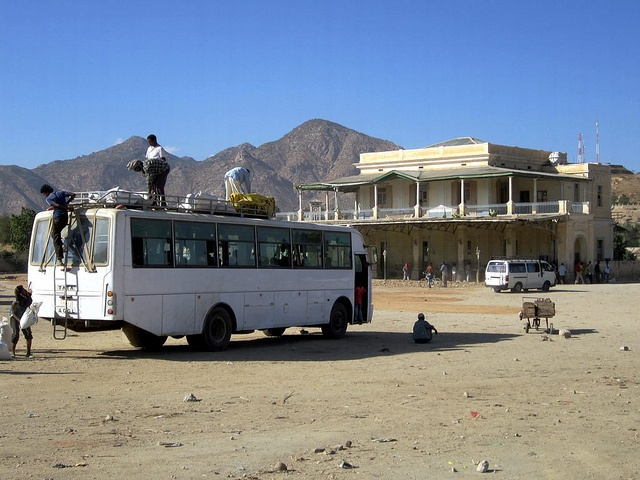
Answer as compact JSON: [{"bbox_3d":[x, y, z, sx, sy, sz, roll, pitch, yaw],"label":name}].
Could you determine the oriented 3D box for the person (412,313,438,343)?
[{"bbox_3d":[3.195,2.723,22.411,0.619,0.872,0.990,0,0,8],"label":"person"}]

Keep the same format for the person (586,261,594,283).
[{"bbox_3d":[21.861,2.611,58.254,0.474,1.645,2.231,0,0,21],"label":"person"}]

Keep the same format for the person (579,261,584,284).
[{"bbox_3d":[20.675,2.611,57.243,0.600,1.590,3.077,0,0,21],"label":"person"}]

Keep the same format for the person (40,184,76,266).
[{"bbox_3d":[-6.639,-0.410,18.323,0.771,2.045,1.324,0,0,-23],"label":"person"}]

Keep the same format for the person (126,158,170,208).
[{"bbox_3d":[-4.518,-1.528,19.299,0.922,1.355,1.636,0,0,-14],"label":"person"}]

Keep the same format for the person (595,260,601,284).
[{"bbox_3d":[22.835,2.605,59.198,0.587,1.695,2.486,0,0,21],"label":"person"}]

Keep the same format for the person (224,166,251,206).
[{"bbox_3d":[-2.758,-1.820,23.333,1.039,1.321,0.919,-6,7,-43],"label":"person"}]

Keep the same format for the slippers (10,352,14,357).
[{"bbox_3d":[-7.632,2.849,17.950,0.036,0.138,0.090,1,4,-42],"label":"slippers"}]

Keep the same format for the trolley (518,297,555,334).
[{"bbox_3d":[7.446,2.433,24.887,0.975,1.491,1.084,-1,13,14],"label":"trolley"}]

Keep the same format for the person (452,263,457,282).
[{"bbox_3d":[11.459,2.761,61.262,0.367,1.240,1.545,0,0,10],"label":"person"}]

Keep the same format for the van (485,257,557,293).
[{"bbox_3d":[13.323,2.354,48.271,3.657,1.877,2.141,-3,3,-24],"label":"van"}]

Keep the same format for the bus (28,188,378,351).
[{"bbox_3d":[-3.150,0.759,22.608,3.929,5.070,12.679,-3,-4,41],"label":"bus"}]

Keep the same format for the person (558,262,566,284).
[{"bbox_3d":[18.882,2.648,56.377,0.486,1.537,2.287,0,0,20],"label":"person"}]
